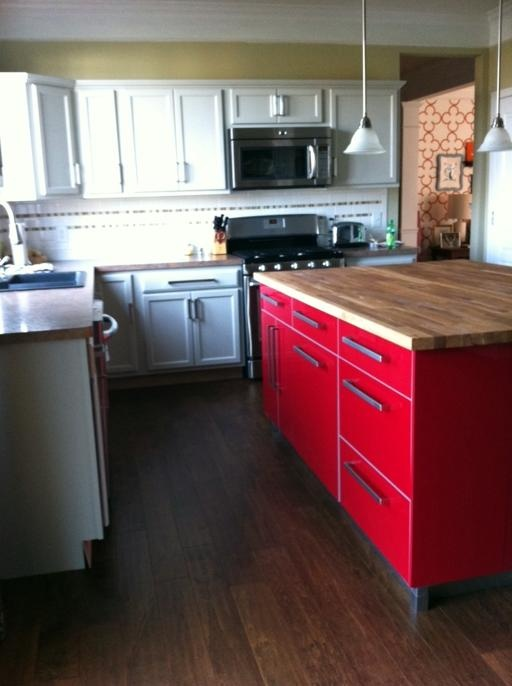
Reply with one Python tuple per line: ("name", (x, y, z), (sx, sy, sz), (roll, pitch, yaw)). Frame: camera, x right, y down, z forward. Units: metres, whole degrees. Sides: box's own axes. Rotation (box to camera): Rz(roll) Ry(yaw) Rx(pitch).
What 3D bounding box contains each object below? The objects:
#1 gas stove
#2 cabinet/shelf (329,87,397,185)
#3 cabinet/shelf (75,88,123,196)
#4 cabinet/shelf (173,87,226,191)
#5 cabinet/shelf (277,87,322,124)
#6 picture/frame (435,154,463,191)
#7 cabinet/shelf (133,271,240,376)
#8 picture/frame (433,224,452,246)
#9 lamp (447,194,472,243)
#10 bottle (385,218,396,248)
("gas stove", (0.217, -0.731, 4.294), (0.902, 0.602, 0.498), (-7, 17, -23))
("cabinet/shelf", (0.858, -1.658, 4.380), (0.634, 0.890, 0.406), (-1, 1, -3))
("cabinet/shelf", (-1.089, -1.446, 3.765), (0.269, 0.728, 0.095), (-5, -1, -6))
("cabinet/shelf", (-0.418, -1.507, 4.064), (0.430, 0.813, 0.393), (-2, 2, -10))
("cabinet/shelf", (0.363, -1.818, 4.080), (0.398, 0.276, 0.235), (-1, 7, -7))
("picture/frame", (2.889, -2.580, 7.906), (0.482, 0.623, 0.110), (-1, 8, -17))
("cabinet/shelf", (-0.477, -0.202, 3.958), (0.756, 0.770, 0.388), (-4, 13, -8))
("picture/frame", (2.742, -1.575, 7.713), (0.344, 0.435, 0.054), (0, 5, -2))
("lamp", (3.011, -1.826, 7.737), (0.384, 0.744, 0.298), (-3, 8, -5))
("bottle", (1.134, -0.907, 4.405), (0.065, 0.239, 0.326), (0, 9, 17))
